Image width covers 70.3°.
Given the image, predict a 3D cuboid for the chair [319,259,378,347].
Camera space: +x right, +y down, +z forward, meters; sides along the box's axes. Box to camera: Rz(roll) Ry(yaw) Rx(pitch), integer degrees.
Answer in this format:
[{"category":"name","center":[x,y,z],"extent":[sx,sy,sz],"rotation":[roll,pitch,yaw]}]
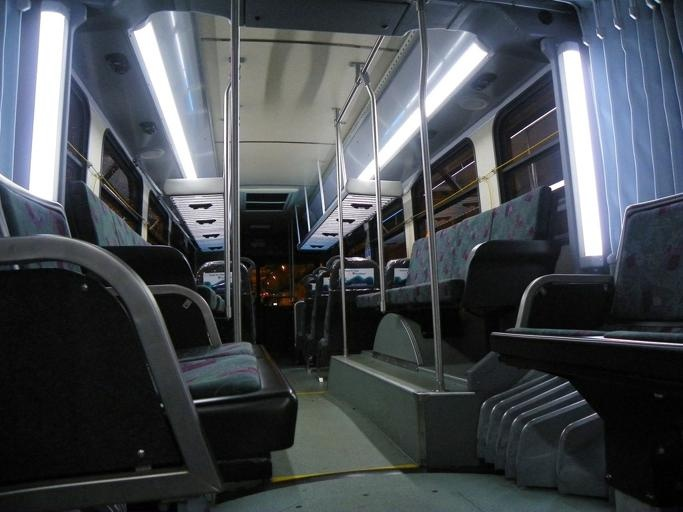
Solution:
[{"category":"chair","center":[-0.041,0.629,5.927],"extent":[0.729,1.248,1.002],"rotation":[2,-2,-23]}]

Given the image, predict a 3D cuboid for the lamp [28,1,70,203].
[{"category":"lamp","center":[-1.708,-0.897,2.815],"extent":[0.175,1.158,0.073],"rotation":[1,-6,-35]}]

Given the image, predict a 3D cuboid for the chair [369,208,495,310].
[{"category":"chair","center":[0.838,0.082,4.637],"extent":[0.857,0.968,2.637],"rotation":[-2,-3,1]}]

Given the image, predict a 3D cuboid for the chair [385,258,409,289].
[{"category":"chair","center":[0.633,0.210,5.581],"extent":[0.297,0.288,0.155],"rotation":[5,-6,-39]}]

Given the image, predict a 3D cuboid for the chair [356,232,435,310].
[{"category":"chair","center":[0.492,0.170,4.362],"extent":[0.602,0.782,1.130],"rotation":[3,-12,-3]}]

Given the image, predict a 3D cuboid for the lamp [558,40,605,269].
[{"category":"lamp","center":[1.667,-0.732,3.373],"extent":[0.229,2.155,0.247],"rotation":[-3,-34,23]}]

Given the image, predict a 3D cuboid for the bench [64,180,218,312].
[{"category":"bench","center":[-1.413,0.105,3.600],"extent":[0.709,0.719,1.986],"rotation":[6,-6,-14]}]
